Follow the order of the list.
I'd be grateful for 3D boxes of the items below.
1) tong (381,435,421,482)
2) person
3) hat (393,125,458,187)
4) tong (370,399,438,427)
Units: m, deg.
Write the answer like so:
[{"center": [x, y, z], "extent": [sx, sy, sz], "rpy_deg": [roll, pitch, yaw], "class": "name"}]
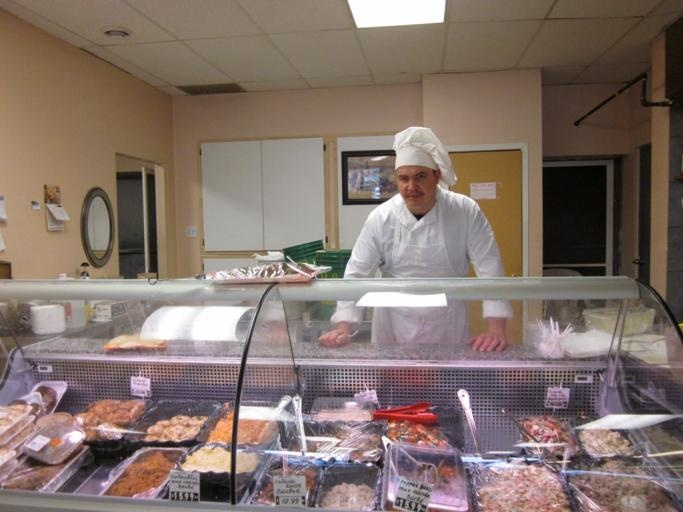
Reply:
[{"center": [0.169, 0.593, 1.550], "extent": [0.077, 0.053, 0.127], "rpy_deg": [-6, 13, -20], "class": "tong"}, {"center": [0.433, 0.211, 2.657], "extent": [0.861, 1.571, 0.812], "rpy_deg": [1, 19, 15], "class": "person"}, {"center": [0.455, -0.551, 2.727], "extent": [0.269, 0.186, 0.328], "rpy_deg": [11, -14, 16], "class": "hat"}, {"center": [0.203, 0.508, 1.659], "extent": [0.139, 0.039, 0.083], "rpy_deg": [-1, 6, 1], "class": "tong"}]
